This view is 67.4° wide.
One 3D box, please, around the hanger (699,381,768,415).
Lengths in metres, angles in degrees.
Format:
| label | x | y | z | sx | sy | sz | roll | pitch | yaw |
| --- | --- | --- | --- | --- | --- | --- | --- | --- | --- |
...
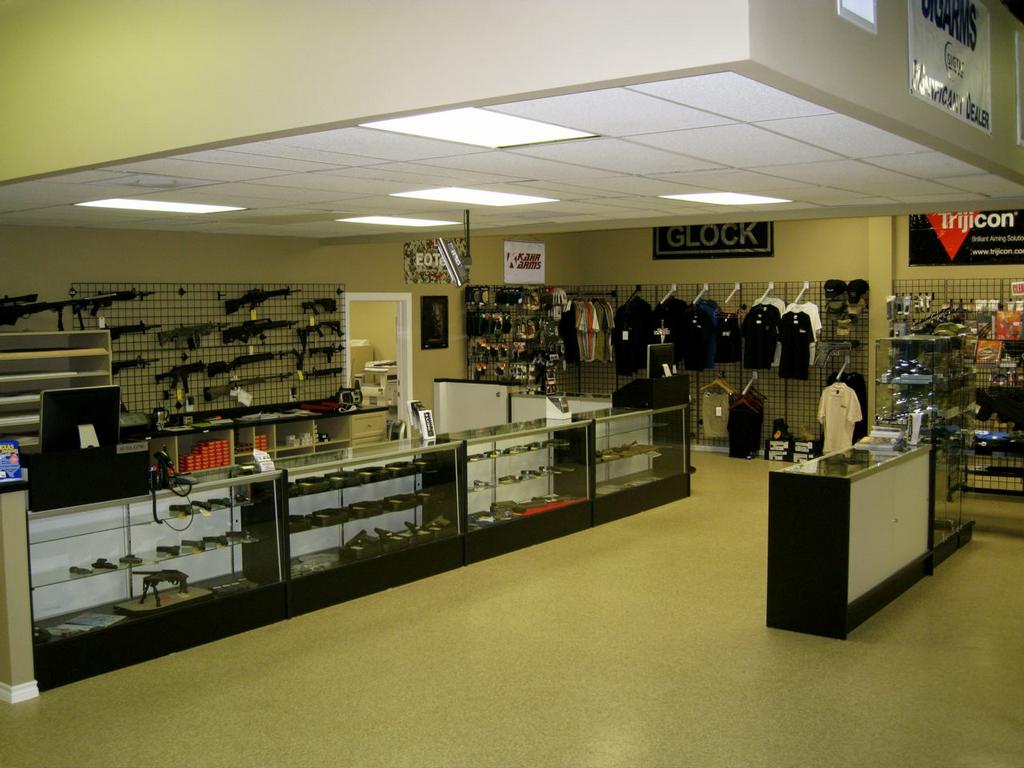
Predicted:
| label | x | y | z | sx | sy | sz | roll | pitch | yaw |
| --- | --- | --- | --- | --- | --- | --- | --- | --- | --- |
| hanger | 3.642 | 0.211 | 13.026 | 0.812 | 0.400 | 0.536 | -1 | 3 | -39 |

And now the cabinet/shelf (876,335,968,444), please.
| label | x | y | z | sx | sy | sz | roll | pitch | yaw |
| --- | --- | --- | --- | --- | --- | --- | --- | --- | --- |
| cabinet/shelf | 4.126 | 0.036 | 7.857 | 1.503 | 1.079 | 0.490 | -6 | 8 | -44 |

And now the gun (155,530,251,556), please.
| label | x | y | z | sx | sy | sz | roll | pitch | yaw |
| --- | --- | --- | --- | --- | --- | --- | --- | --- | --- |
| gun | -2.376 | 1.228 | 5.969 | 0.707 | 0.135 | 0.042 | -5 | 7 | -36 |

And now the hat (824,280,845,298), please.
| label | x | y | z | sx | sy | sz | roll | pitch | yaw |
| --- | --- | --- | --- | --- | --- | --- | --- | --- | --- |
| hat | 5.094 | -1.518 | 12.113 | 0.318 | 0.298 | 0.217 | 2 | 6 | 21 |

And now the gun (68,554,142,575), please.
| label | x | y | z | sx | sy | sz | roll | pitch | yaw |
| --- | --- | --- | --- | --- | --- | --- | --- | --- | --- |
| gun | -2.934 | 1.301 | 5.534 | 0.135 | 0.065 | 0.278 | 0 | 1 | 36 |

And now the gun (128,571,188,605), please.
| label | x | y | z | sx | sy | sz | roll | pitch | yaw |
| --- | --- | --- | --- | --- | --- | --- | --- | --- | --- |
| gun | -2.595 | 1.478 | 5.654 | 0.131 | 0.226 | 0.440 | -1 | -2 | 28 |

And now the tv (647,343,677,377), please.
| label | x | y | z | sx | sy | sz | roll | pitch | yaw |
| --- | --- | --- | --- | --- | --- | --- | --- | --- | --- |
| tv | 1.990 | -0.330 | 10.256 | 0.450 | 0.452 | 0.155 | -5 | 6 | -43 |

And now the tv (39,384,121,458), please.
| label | x | y | z | sx | sy | sz | roll | pitch | yaw |
| --- | --- | --- | --- | --- | --- | --- | --- | --- | --- |
| tv | -3.119 | 0.231 | 5.572 | 0.514 | 0.411 | 0.181 | -4 | 7 | -34 |

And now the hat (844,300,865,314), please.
| label | x | y | z | sx | sy | sz | roll | pitch | yaw |
| --- | --- | --- | --- | --- | --- | --- | --- | --- | --- |
| hat | 5.316 | -1.207 | 11.944 | 0.248 | 0.215 | 0.166 | 6 | 6 | 38 |

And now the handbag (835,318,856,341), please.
| label | x | y | z | sx | sy | sz | roll | pitch | yaw |
| --- | --- | --- | --- | --- | --- | --- | --- | --- | --- |
| handbag | 5.193 | -0.878 | 12.003 | 0.264 | 0.364 | 0.284 | 2 | 6 | 24 |
